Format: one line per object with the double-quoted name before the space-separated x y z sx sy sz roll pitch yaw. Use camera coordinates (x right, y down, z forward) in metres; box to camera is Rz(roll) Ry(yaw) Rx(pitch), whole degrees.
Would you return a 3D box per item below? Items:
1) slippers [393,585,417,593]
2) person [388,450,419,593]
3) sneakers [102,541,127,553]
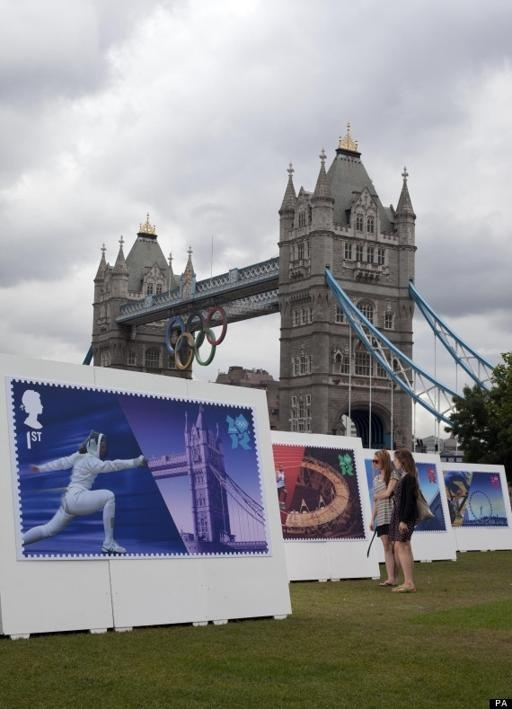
"slippers" 1.681 2.682 12.178 0.194 0.070 0.107 -3 13 14
"person" 1.750 1.911 12.462 0.316 1.584 0.707 -3 -4 7
"sneakers" -1.192 1.632 9.018 0.215 0.098 0.071 2 -3 -15
